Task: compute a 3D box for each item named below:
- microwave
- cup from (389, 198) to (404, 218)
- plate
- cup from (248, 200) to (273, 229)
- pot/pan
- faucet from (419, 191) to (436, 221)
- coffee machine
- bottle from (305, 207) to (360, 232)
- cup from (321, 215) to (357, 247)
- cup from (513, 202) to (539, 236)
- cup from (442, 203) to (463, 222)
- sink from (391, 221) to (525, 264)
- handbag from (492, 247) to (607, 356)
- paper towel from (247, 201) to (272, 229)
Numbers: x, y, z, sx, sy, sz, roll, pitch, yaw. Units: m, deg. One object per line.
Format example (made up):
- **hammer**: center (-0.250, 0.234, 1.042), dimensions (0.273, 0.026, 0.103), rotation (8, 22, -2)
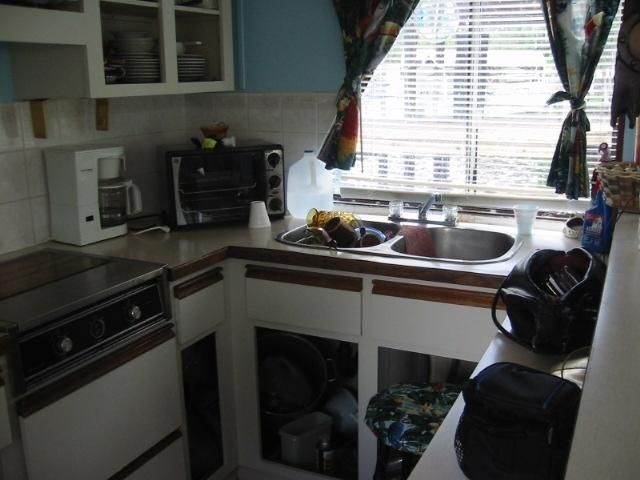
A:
- **microwave**: center (-0.470, -0.414, 2.428), dimensions (0.607, 0.453, 0.380), rotation (-7, 15, -22)
- **cup**: center (0.390, -0.161, 2.525), dimensions (0.076, 0.101, 0.079), rotation (-1, 7, 0)
- **plate**: center (-0.746, -0.805, 2.272), dimensions (0.390, 0.153, 0.300), rotation (-1, 7, 6)
- **cup**: center (-0.292, -0.133, 2.509), dimensions (0.113, 0.127, 0.113), rotation (-5, 10, 1)
- **pot/pan**: center (-0.102, 0.571, 2.334), dimensions (0.416, 0.388, 0.160), rotation (12, 13, 17)
- **faucet**: center (0.538, -0.174, 2.512), dimensions (0.029, 0.151, 0.061), rotation (7, 7, -25)
- **coffee machine**: center (-1.027, -0.194, 2.212), dimensions (0.192, 0.383, 0.374), rotation (9, 20, 19)
- **bottle**: center (0.057, -0.106, 2.342), dimensions (0.178, 0.090, 0.114), rotation (9, 5, 0)
- **cup**: center (0.090, -0.033, 2.186), dimensions (0.154, 0.131, 0.090), rotation (1, 12, 0)
- **cup**: center (0.936, -0.096, 2.356), dimensions (0.125, 0.151, 0.126), rotation (-2, 15, 1)
- **cup**: center (0.636, -0.131, 2.412), dimensions (0.087, 0.094, 0.058), rotation (1, 15, 11)
- **sink**: center (0.640, 0.021, 2.341), dimensions (0.313, 0.130, 0.272), rotation (5, 22, 20)
- **handbag**: center (0.599, 0.152, 1.324), dimensions (0.270, 0.231, 0.230), rotation (0, 12, -3)
- **paper towel**: center (-0.295, -0.125, 2.437), dimensions (0.114, 0.128, 0.114), rotation (-1, 5, 34)
